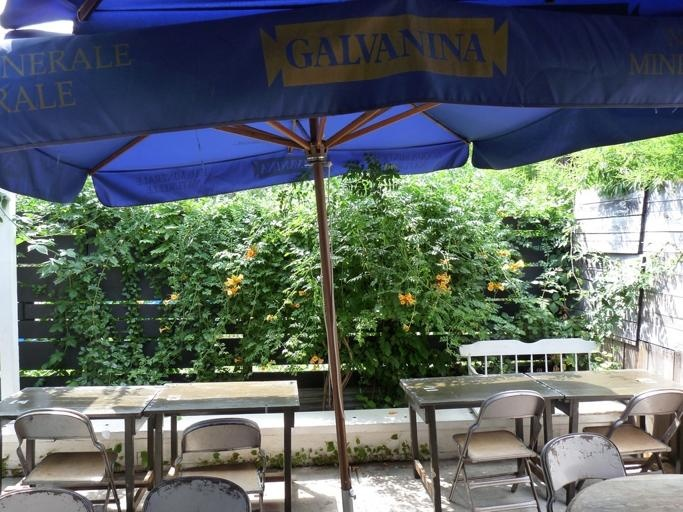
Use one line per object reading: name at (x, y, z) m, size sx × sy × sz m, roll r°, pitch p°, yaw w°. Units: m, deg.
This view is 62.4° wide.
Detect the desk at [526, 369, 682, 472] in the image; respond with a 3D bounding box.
desk at (1.895, 1.101, 4.195) m, size 0.957 × 0.616 × 0.852 m, roll -1°, pitch -2°, yaw -6°

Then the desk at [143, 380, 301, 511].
desk at (-0.823, 1.171, 4.082) m, size 1.146 × 0.736 × 0.882 m, roll 0°, pitch -6°, yaw -6°
